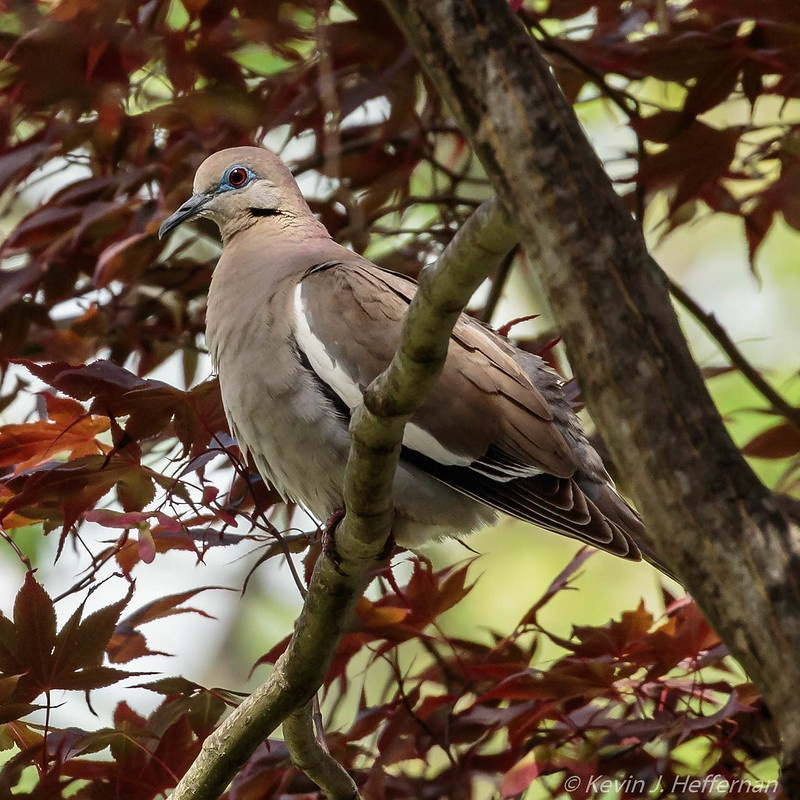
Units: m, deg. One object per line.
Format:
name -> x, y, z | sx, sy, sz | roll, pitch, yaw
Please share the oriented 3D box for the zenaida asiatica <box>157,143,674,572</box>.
zenaida asiatica -> 0.168, -0.024, 3.716 | 1.919, 0.526, 0.909 | 13, -95, -10
